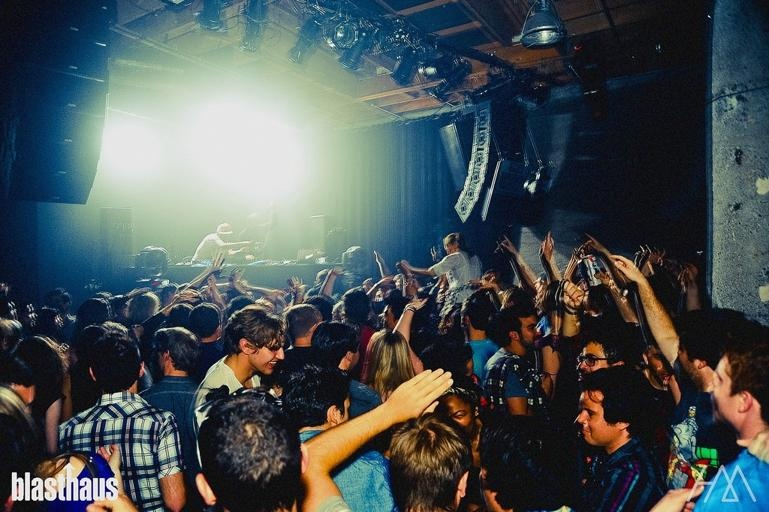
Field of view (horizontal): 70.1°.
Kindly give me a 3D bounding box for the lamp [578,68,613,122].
[{"bbox_3d":[3.384,-2.567,8.720,0.273,0.334,0.853,-10,-46,26],"label":"lamp"}]
